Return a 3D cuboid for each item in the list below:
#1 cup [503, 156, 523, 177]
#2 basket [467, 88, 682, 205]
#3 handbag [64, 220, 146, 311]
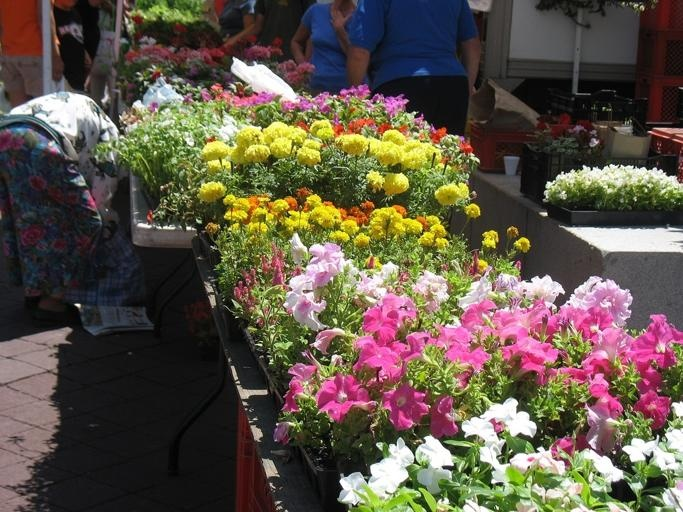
[{"bbox_3d":[1.340,-0.708,5.537,0.131,0.148,0.144,0,17,0],"label":"cup"},{"bbox_3d":[1.348,-0.837,5.122,0.906,0.402,1.243,-7,26,-20],"label":"basket"},{"bbox_3d":[-1.750,0.007,5.240,0.259,0.787,0.566,-4,41,-5],"label":"handbag"}]
